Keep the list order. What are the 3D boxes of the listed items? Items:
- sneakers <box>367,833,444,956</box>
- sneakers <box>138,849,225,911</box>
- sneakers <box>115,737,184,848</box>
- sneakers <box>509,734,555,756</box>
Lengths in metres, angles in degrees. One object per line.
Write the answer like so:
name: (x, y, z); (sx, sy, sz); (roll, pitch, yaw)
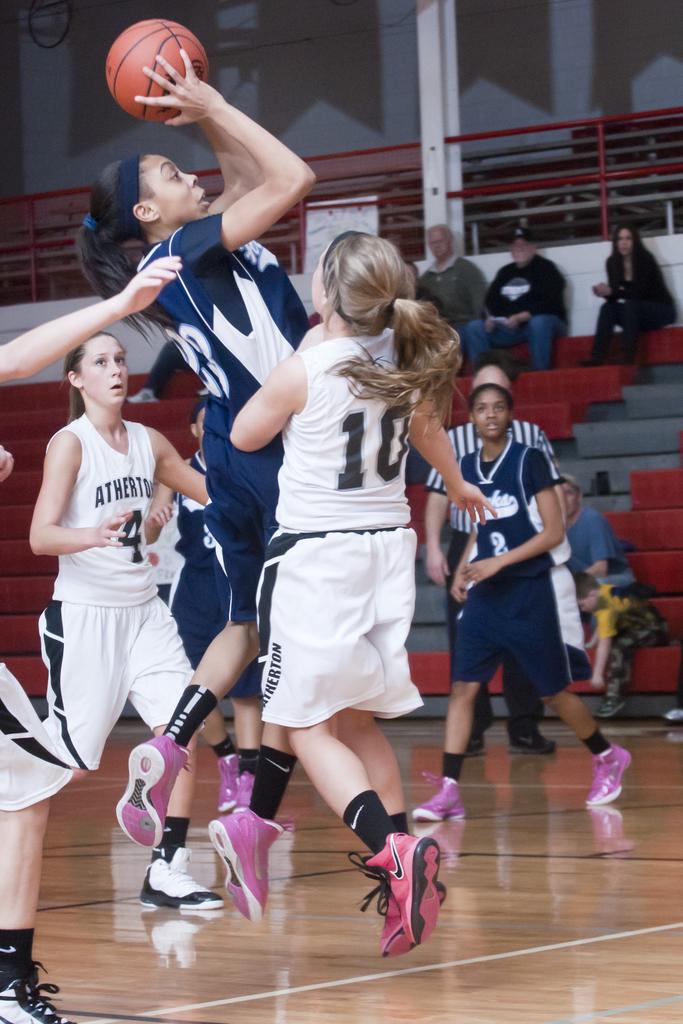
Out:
sneakers: (0.094, 0.597, 1.556); (0.121, 0.230, 0.083); (12, 36, 21)
sneakers: (-0.366, 0.853, 2.334); (0.250, 0.141, 0.084); (0, -7, 20)
sneakers: (-0.385, 0.574, 2.124); (0.117, 0.259, 0.124); (21, 39, 22)
sneakers: (0.907, 1.117, 4.797); (0.199, 0.073, 0.086); (0, -1, -2)
